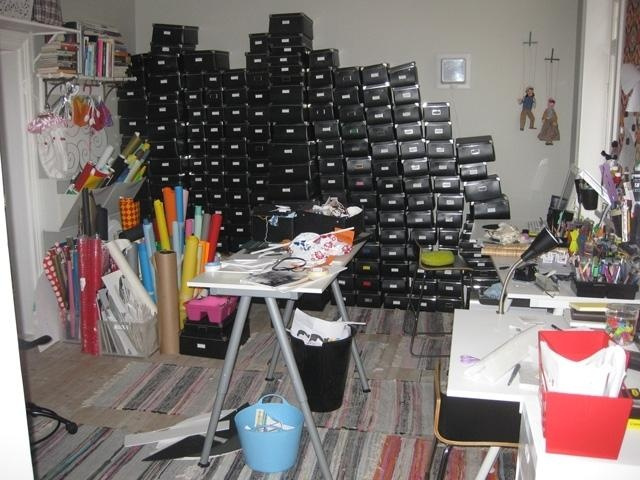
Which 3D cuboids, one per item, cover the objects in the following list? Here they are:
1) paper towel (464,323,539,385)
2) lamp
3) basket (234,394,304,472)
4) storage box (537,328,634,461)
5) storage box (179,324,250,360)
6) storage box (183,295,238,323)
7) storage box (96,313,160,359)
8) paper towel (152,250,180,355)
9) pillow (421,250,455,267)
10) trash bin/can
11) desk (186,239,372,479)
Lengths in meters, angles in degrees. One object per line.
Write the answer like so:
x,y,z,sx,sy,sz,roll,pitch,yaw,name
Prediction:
0.803,0.488,1.998,0.141,0.066,0.434,25,30,37,paper towel
1.178,0.259,2.686,0.323,0.694,0.169,-4,30,3,lamp
-0.294,1.154,2.943,0.489,0.325,0.520,0,6,0,basket
0.922,0.499,1.609,0.319,0.330,0.399,5,13,23,storage box
-0.891,0.921,4.344,0.676,0.254,0.661,7,-14,-45,storage box
-0.961,0.605,4.097,0.271,0.110,0.329,2,6,11,storage box
-1.708,0.848,4.192,0.446,0.232,0.402,2,13,2,storage box
-1.351,0.567,4.217,0.245,0.884,0.229,-7,-7,18,paper towel
1.092,0.177,4.271,0.319,0.121,0.222,2,12,8,pillow
0.035,0.972,3.374,0.476,0.449,0.440,-8,-9,-1,trash bin/can
-0.242,0.723,3.113,0.914,1.155,1.056,3,13,14,desk
